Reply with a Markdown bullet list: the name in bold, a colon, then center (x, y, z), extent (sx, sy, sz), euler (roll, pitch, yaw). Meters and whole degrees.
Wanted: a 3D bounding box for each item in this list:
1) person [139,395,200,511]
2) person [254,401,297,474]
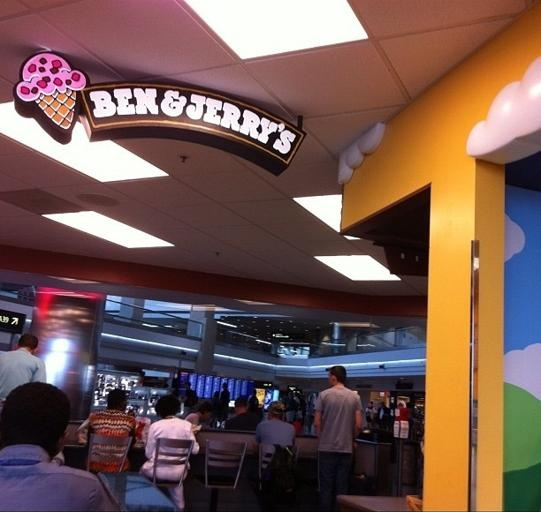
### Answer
- **person**: center (-1.005, 2.019, 4.478), extent (0.554, 1.179, 0.808), euler (9, -16, -9)
- **person**: center (0.050, 2.109, 5.140), extent (0.456, 0.741, 0.847), euler (5, -14, 5)
